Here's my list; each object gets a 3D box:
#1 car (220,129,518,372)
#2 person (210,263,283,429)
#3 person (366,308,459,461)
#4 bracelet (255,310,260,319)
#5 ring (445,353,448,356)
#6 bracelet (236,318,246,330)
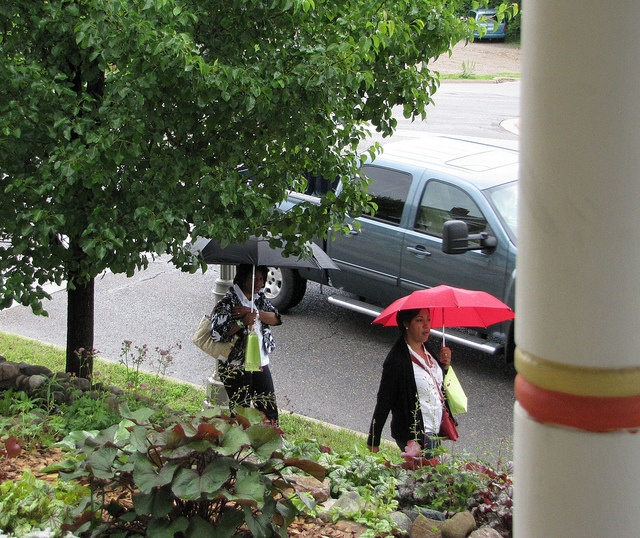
[{"bbox_3d":[1.387,-0.406,7.632,3.847,1.551,1.794,12,16,37],"label":"car"},{"bbox_3d":[-0.709,0.865,6.040,0.666,1.977,0.422,-17,28,-35],"label":"person"},{"bbox_3d":[0.731,0.856,4.793,0.502,1.101,0.680,7,11,27],"label":"person"},{"bbox_3d":[-0.579,0.431,5.758,0.029,0.063,0.041,3,11,-20],"label":"bracelet"},{"bbox_3d":[0.992,0.673,4.894,0.016,0.007,0.028,7,12,41],"label":"ring"},{"bbox_3d":[-0.729,0.505,5.704,0.061,0.036,0.086,46,-6,41],"label":"bracelet"}]
